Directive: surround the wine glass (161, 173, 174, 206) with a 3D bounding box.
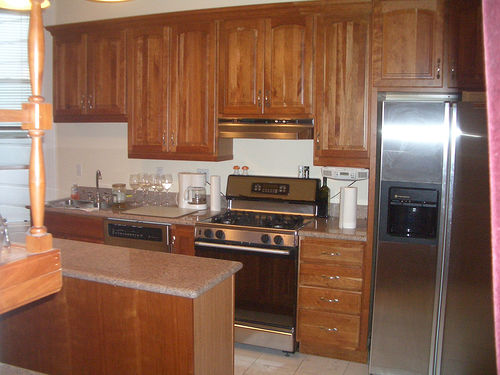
[{"bbox_3d":[-0.829,0.015,4.205,0.126,0.328,0.307,-2,14,-3],"label":"wine glass"}]

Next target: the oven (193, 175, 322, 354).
[{"bbox_3d":[0.114,0.581,3.590,0.965,1.253,0.931,1,7,9],"label":"oven"}]

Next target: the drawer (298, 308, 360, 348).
[{"bbox_3d":[0.611,0.958,3.254,0.446,0.265,0.281,2,-3,19],"label":"drawer"}]

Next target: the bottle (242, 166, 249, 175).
[{"bbox_3d":[-0.042,-0.157,3.931,0.059,0.094,0.104,-2,14,-1],"label":"bottle"}]

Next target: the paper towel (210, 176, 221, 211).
[{"bbox_3d":[-0.321,0.075,3.980,0.125,0.350,0.141,5,22,5],"label":"paper towel"}]

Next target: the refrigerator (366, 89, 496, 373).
[{"bbox_3d":[1.286,0.398,2.890,0.812,1.934,0.371,3,15,17],"label":"refrigerator"}]

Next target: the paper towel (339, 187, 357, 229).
[{"bbox_3d":[0.776,0.156,3.326,0.125,0.308,0.143,2,15,12],"label":"paper towel"}]
